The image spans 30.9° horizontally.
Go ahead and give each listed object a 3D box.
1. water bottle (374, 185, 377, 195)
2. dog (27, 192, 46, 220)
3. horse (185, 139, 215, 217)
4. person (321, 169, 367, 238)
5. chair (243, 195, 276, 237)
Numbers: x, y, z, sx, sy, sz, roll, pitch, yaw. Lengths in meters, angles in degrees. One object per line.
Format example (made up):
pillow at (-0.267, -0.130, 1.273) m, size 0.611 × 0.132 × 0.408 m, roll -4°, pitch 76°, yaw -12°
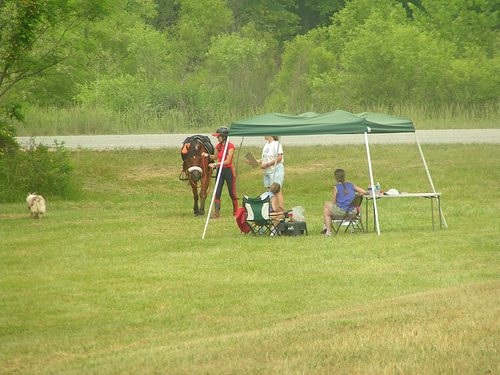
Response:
water bottle at (3.855, 0.109, 27.767) m, size 0.087 × 0.237 × 0.352 m, roll -2°, pitch 2°, yaw 9°
dog at (-6.998, 0.654, 29.505) m, size 0.514 × 0.589 × 0.331 m, roll -2°, pitch 1°, yaw -11°
horse at (-1.669, -0.281, 30.017) m, size 0.936 × 2.569 × 1.157 m, roll -2°, pitch 1°, yaw 7°
person at (2.806, 0.486, 27.393) m, size 1.254 × 2.026 × 0.767 m, roll -2°, pitch 1°, yaw 7°
chair at (0.258, 0.823, 27.474) m, size 0.990 × 1.558 × 1.140 m, roll 0°, pitch 2°, yaw 10°
